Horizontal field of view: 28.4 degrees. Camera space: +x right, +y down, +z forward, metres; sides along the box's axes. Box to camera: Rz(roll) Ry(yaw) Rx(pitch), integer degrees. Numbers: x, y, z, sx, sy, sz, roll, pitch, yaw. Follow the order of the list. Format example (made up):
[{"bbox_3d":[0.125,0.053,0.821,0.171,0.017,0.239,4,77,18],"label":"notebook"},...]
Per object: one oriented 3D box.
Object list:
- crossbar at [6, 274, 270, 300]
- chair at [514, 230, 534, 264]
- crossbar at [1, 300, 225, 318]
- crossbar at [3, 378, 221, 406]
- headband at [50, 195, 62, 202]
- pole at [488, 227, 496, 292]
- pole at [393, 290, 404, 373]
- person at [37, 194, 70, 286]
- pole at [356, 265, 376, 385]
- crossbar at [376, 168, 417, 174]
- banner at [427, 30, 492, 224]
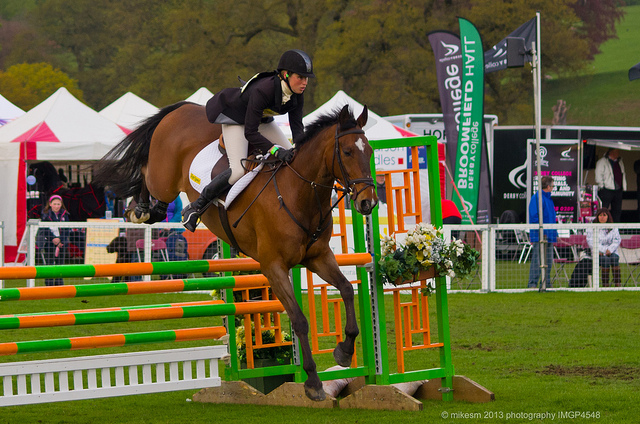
[{"bbox_3d":[-3.605,1.536,25.298,5.115,0.278,0.587,-2,-4,-12],"label":"crossbar"},{"bbox_3d":[5.237,0.932,32.321,0.405,0.869,0.675,-5,-5,25],"label":"chair"},{"bbox_3d":[-4.419,2.127,27.062,1.415,0.034,0.239,20,-39,-19],"label":"crossbar"},{"bbox_3d":[-4.200,3.630,25.238,4.166,0.307,0.154,-2,-4,-10],"label":"crossbar"},{"bbox_3d":[-6.744,-0.310,32.315,0.248,0.211,0.547,-3,-4,1],"label":"headband"},{"bbox_3d":[4.336,1.255,32.018,0.248,1.602,0.246,-2,-4,-4],"label":"pole"},{"bbox_3d":[1.608,2.504,26.175,0.137,1.704,0.618,-3,-4,4],"label":"pole"},{"bbox_3d":[-6.881,0.684,31.585,0.988,2.968,1.102,2,-1,-4],"label":"person"},{"bbox_3d":[1.026,2.360,26.091,0.431,2.094,0.554,3,-4,6],"label":"pole"},{"bbox_3d":[1.657,-0.860,27.583,1.190,0.167,0.085,-1,-4,0],"label":"crossbar"},{"bbox_3d":[4.000,-2.455,35.745,1.670,5.035,1.353,3,1,14],"label":"banner"}]
